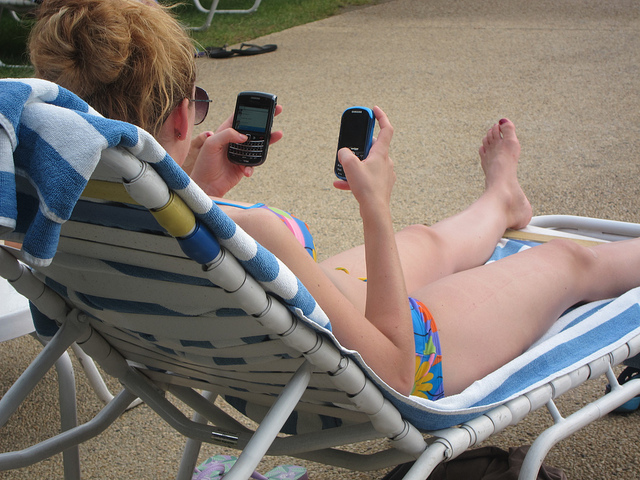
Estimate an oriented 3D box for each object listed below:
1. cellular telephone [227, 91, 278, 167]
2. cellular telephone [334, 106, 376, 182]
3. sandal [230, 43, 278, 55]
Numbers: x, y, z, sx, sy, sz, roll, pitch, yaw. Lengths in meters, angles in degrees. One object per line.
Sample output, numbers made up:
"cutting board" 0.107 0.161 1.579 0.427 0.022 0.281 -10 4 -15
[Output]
"cellular telephone" -0.186 -0.289 1.951 0.105 0.203 0.028 5 25 -20
"cellular telephone" 0.100 -0.239 1.870 0.140 0.175 0.128 1 27 4
"sandal" -0.412 -1.172 4.611 0.276 0.079 0.105 0 11 -3
